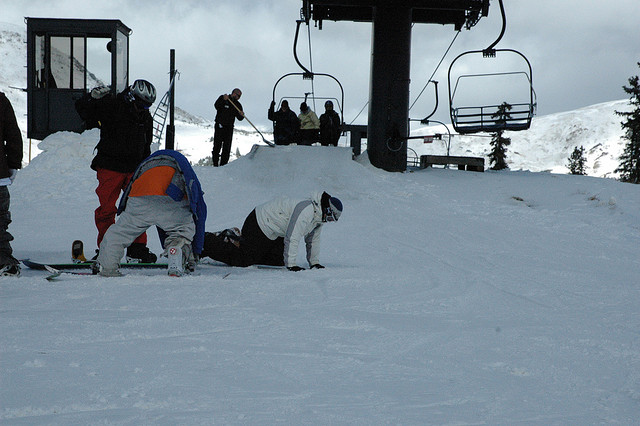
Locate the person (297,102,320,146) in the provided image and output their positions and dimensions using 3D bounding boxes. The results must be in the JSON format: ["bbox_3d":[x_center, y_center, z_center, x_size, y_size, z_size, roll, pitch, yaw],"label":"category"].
[{"bbox_3d":[-0.272,-2.237,20.213,0.540,1.053,0.328,2,14,-5],"label":"person"}]

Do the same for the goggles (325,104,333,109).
[{"bbox_3d":[0.230,-2.620,19.908,0.091,0.120,0.045,-12,5,5],"label":"goggles"}]

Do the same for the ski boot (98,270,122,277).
[{"bbox_3d":[-2.713,0.771,10.455,0.275,0.074,0.101,-1,14,-13],"label":"ski boot"}]

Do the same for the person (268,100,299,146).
[{"bbox_3d":[-0.875,-2.238,20.066,0.688,1.085,0.328,2,13,-2],"label":"person"}]

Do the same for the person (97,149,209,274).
[{"bbox_3d":[-2.290,0.000,10.907,1.283,1.647,0.722,18,13,-26],"label":"person"}]

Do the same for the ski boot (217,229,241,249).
[{"bbox_3d":[-1.314,0.345,11.812,0.312,0.202,0.141,44,36,23],"label":"ski boot"}]

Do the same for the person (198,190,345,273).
[{"bbox_3d":[-0.789,0.258,11.843,2.083,1.050,0.920,3,2,18],"label":"person"}]

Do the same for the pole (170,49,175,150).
[{"bbox_3d":[-4.233,-3.174,23.110,0.188,3.001,0.172,4,19,-3],"label":"pole"}]

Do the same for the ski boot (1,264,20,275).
[{"bbox_3d":[-3.936,0.724,10.298,0.160,0.111,0.113,-7,-2,10],"label":"ski boot"}]

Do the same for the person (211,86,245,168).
[{"bbox_3d":[-2.128,-1.930,18.717,0.652,1.885,1.115,1,14,-8],"label":"person"}]

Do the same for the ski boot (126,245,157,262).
[{"bbox_3d":[-2.532,0.569,11.481,0.433,0.249,0.194,-3,4,-13],"label":"ski boot"}]

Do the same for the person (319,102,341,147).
[{"bbox_3d":[0.262,-2.215,20.076,0.523,1.057,0.377,2,13,-1],"label":"person"}]
